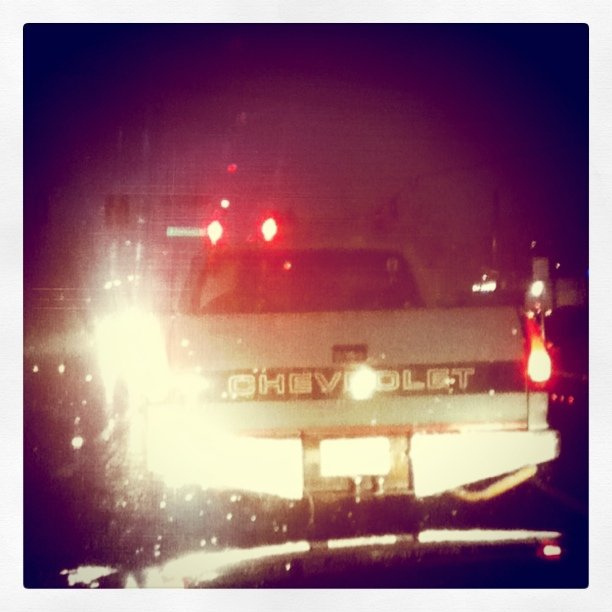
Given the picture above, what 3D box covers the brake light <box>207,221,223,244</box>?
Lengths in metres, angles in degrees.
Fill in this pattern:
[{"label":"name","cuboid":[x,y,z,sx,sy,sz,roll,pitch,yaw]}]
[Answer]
[{"label":"brake light","cuboid":[-0.257,-0.206,2.603,0.034,0.059,0.013,10,3,5]}]
